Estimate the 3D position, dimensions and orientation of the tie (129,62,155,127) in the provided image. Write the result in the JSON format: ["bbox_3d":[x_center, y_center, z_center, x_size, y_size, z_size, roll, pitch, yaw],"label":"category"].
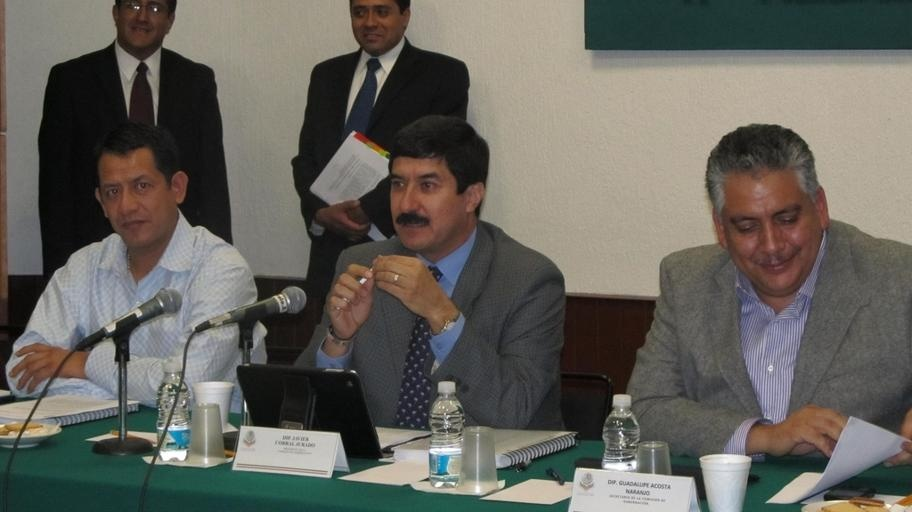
[{"bbox_3d":[-2.132,-1.122,5.417,0.204,0.424,0.033,-1,-2,15],"label":"tie"}]

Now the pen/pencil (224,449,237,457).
[{"bbox_3d":[-0.896,0.783,3.155,0.046,0.022,0.029,0,-12,0],"label":"pen/pencil"}]

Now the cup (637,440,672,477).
[{"bbox_3d":[0.708,0.712,2.806,0.121,0.103,0.114,0,-6,0],"label":"cup"}]

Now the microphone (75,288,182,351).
[{"bbox_3d":[-1.512,0.301,3.737,0.450,0.139,0.117,-28,-36,-13],"label":"microphone"}]

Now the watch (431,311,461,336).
[{"bbox_3d":[-0.047,0.297,3.542,0.110,0.044,0.106,-29,6,-12],"label":"watch"}]

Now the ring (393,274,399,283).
[{"bbox_3d":[-0.259,0.091,3.473,0.028,0.031,0.009,-1,-2,23],"label":"ring"}]
